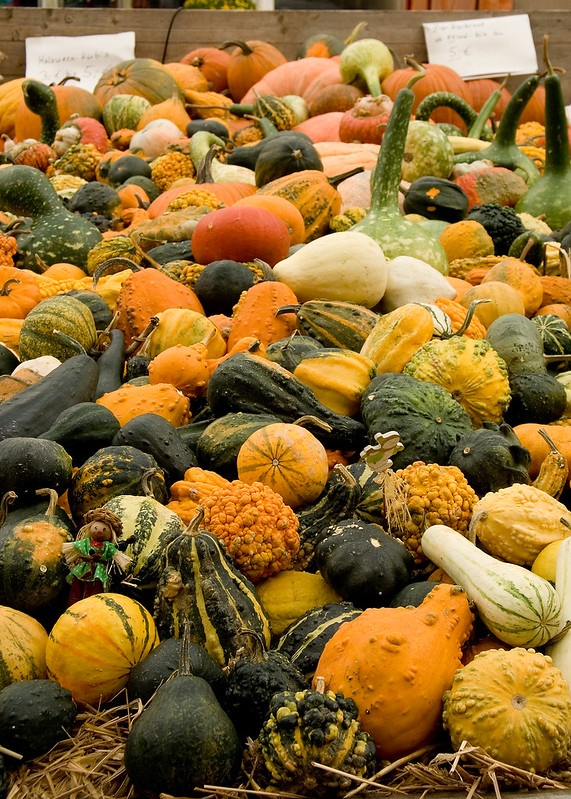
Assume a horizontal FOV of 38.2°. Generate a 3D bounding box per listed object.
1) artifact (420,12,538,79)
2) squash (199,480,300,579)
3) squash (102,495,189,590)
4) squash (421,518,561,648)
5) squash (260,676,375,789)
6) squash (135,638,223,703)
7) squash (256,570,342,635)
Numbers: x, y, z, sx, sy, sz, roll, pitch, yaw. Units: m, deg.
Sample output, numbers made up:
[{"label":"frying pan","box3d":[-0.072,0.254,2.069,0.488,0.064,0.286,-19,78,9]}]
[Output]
[{"label":"artifact","box3d":[1.983,-3.570,8.343,1.266,0.743,0.275,-5,8,9]},{"label":"squash","box3d":[-0.147,0.391,2.417,0.365,0.298,0.373,4,-5,-11]},{"label":"squash","box3d":[-0.463,0.385,2.363,0.246,0.241,0.271,-2,67,-8]},{"label":"squash","box3d":[0.548,0.495,2.211,0.173,0.157,0.380,-40,44,-16]},{"label":"squash","box3d":[0.061,0.701,1.692,0.230,0.170,0.162,6,20,18]},{"label":"squash","box3d":[-0.268,0.627,1.940,0.168,0.178,0.145,-30,70,-20]},{"label":"squash","box3d":[0.016,0.559,2.368,0.178,0.173,0.166,34,59,2]}]
